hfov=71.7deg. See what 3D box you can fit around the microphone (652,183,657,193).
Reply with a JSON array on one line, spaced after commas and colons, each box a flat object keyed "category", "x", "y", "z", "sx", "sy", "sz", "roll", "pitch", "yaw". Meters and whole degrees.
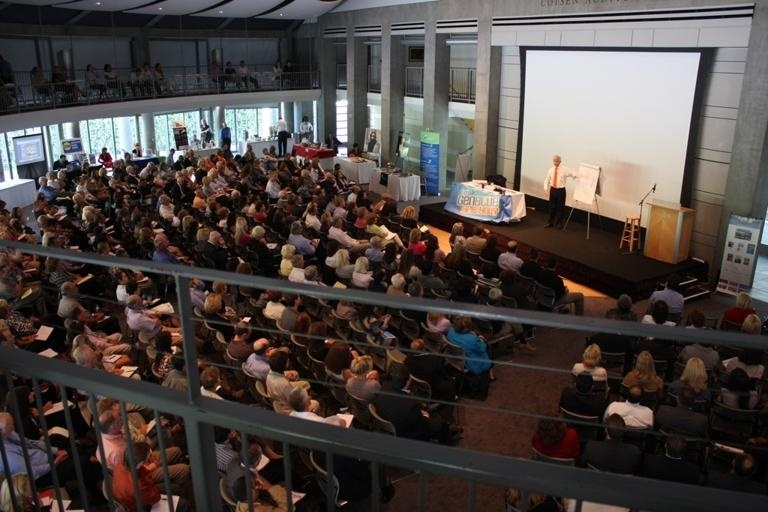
[{"category": "microphone", "x": 6.357, "y": -1.612, "z": 12.541, "sx": 0.056, "sy": 0.224, "sz": 0.088, "roll": 14, "pitch": -1, "yaw": -1}]
